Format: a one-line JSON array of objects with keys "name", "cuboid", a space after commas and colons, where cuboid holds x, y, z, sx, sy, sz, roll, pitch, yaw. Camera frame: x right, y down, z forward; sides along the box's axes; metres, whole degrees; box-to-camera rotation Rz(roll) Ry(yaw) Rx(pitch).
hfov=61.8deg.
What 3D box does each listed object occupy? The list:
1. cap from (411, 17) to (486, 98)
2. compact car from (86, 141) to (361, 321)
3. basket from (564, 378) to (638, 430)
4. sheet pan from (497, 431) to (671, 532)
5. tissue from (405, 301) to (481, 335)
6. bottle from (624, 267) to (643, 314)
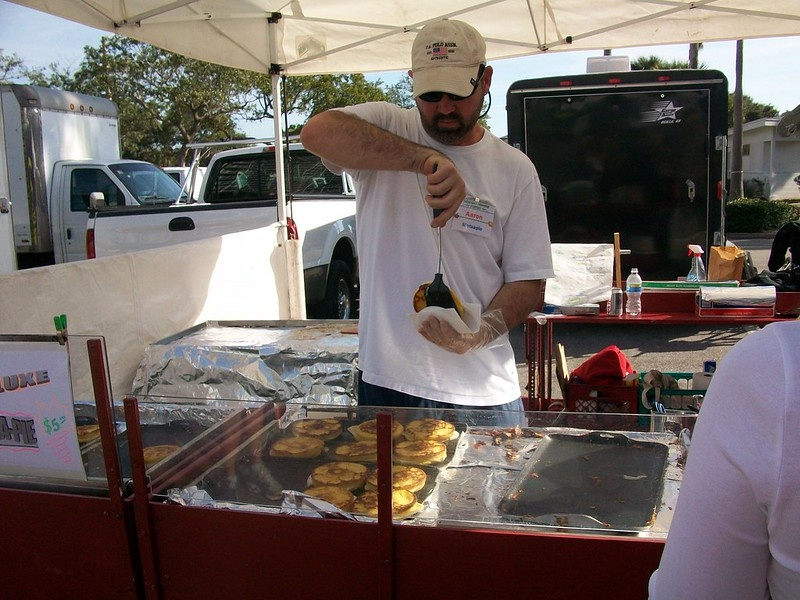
[{"name": "cap", "cuboid": [0.169, -0.905, 2.500, 0.229, 0.175, 0.345, 1, 33, 10]}, {"name": "compact car", "cuboid": [-1.538, -0.828, 7.549, 1.837, 1.402, 3.241, 4, 14, 22]}, {"name": "basket", "cuboid": [1.279, 0.578, 4.165, 0.554, 0.328, 0.540, 0, -4, 6]}, {"name": "sheet pan", "cuboid": [0.624, 0.560, 2.194, 0.481, 0.063, 0.563, 0, 18, 31]}, {"name": "tissue", "cuboid": [0.193, 0.059, 2.474, 0.173, 0.074, 0.127, 3, -5, 31]}, {"name": "bottle", "cuboid": [1.809, -0.061, 5.204, 0.119, 0.341, 0.165, -1, 6, 15]}]
